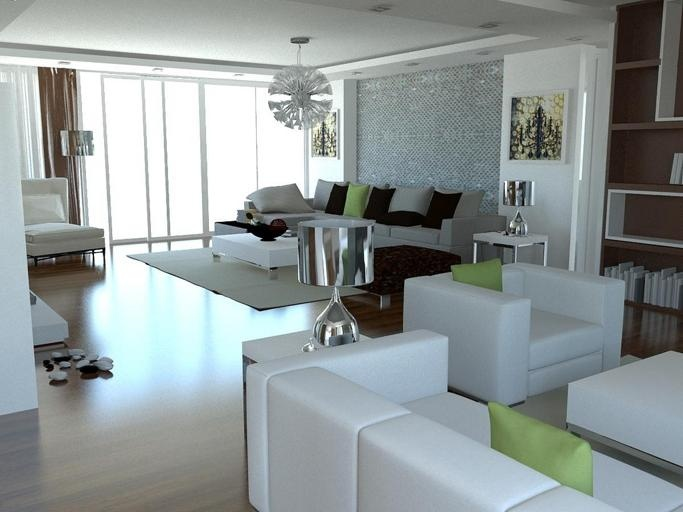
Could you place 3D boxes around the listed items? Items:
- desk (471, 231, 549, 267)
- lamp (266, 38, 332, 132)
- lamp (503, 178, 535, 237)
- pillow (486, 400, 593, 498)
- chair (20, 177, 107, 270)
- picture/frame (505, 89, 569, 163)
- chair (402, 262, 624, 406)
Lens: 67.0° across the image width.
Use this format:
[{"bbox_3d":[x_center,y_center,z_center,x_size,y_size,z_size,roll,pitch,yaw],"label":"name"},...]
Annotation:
[{"bbox_3d":[2.037,-0.185,6.235,0.634,0.607,0.626,-5,9,-37],"label":"desk"},{"bbox_3d":[-0.552,-2.312,6.858,0.896,1.121,0.831,-8,11,-41],"label":"lamp"},{"bbox_3d":[2.159,-0.606,6.320,0.333,0.654,0.897,2,12,17],"label":"lamp"},{"bbox_3d":[0.655,0.628,1.692,0.115,0.185,0.344,-23,20,-33],"label":"pillow"},{"bbox_3d":[-4.392,-0.555,7.730,1.605,1.085,1.033,10,13,42],"label":"chair"},{"bbox_3d":[2.537,-1.622,6.645,0.048,0.903,0.955,-12,17,-24],"label":"picture/frame"},{"bbox_3d":[1.275,0.515,3.785,1.280,0.684,0.965,-6,9,-30],"label":"chair"}]
